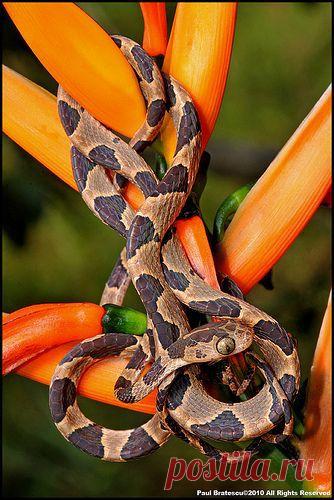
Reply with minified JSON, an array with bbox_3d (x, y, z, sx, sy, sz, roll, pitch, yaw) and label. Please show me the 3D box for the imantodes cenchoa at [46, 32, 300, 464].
[{"bbox_3d":[0.011,0.012,0.777,0.401,0.525,0.490,2,46,15],"label":"imantodes cenchoa"}]
